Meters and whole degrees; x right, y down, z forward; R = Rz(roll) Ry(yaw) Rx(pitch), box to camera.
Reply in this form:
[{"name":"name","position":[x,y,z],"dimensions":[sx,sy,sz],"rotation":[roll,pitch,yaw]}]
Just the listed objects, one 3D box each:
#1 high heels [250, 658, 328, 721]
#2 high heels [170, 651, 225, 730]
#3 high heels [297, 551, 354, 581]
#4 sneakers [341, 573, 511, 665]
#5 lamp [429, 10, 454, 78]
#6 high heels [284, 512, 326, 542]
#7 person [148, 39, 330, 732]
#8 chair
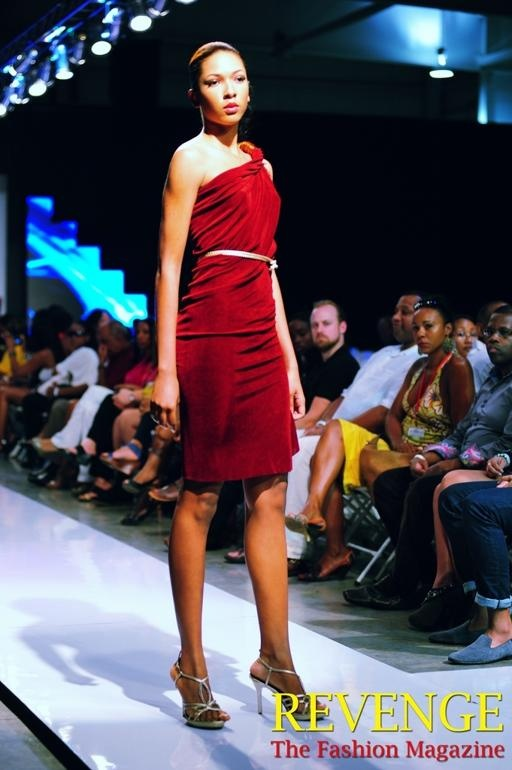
[{"name":"high heels","position":[0.059,0.603,1.424],"dimensions":[0.182,0.115,0.073],"rotation":[0,-3,21]},{"name":"high heels","position":[-0.115,0.603,1.399],"dimensions":[0.057,0.049,0.145],"rotation":[-4,19,-23]},{"name":"high heels","position":[0.317,0.831,3.257],"dimensions":[0.247,0.089,0.116],"rotation":[0,0,-5]},{"name":"sneakers","position":[0.538,0.797,2.427],"dimensions":[0.343,0.105,0.243],"rotation":[5,-1,-37]},{"name":"lamp","position":[2.224,-3.934,8.295],"dimensions":[0.271,0.240,0.589],"rotation":[8,-40,-2]},{"name":"high heels","position":[0.215,0.606,3.066],"dimensions":[0.089,0.055,0.221],"rotation":[-17,-37,23]},{"name":"person","position":[-0.034,-0.035,1.530],"dimensions":[0.398,1.425,0.309],"rotation":[5,-8,-16]},{"name":"chair","position":[0.500,0.744,3.473],"dimensions":[0.303,0.671,0.202],"rotation":[-18,39,-16]}]
